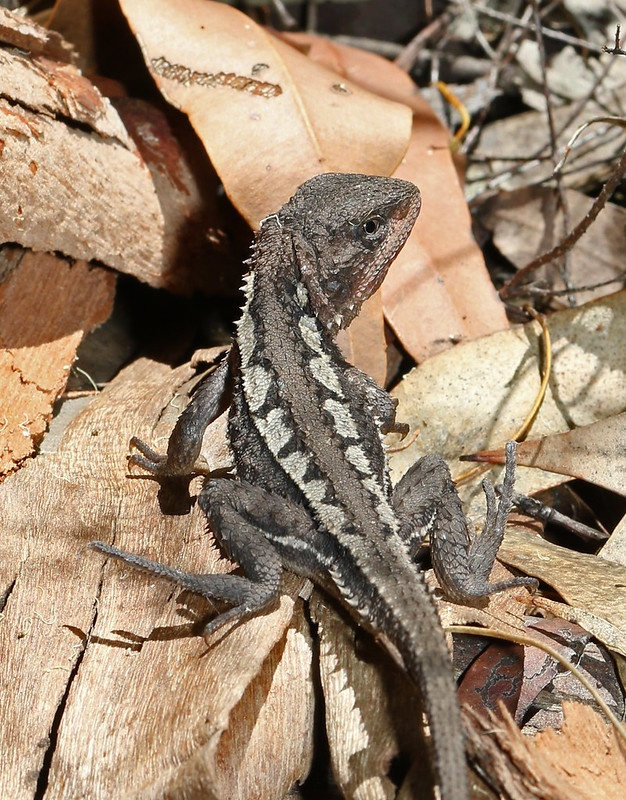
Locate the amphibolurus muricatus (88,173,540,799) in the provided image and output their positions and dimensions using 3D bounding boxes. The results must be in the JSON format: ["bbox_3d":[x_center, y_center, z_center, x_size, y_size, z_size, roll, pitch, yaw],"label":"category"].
[{"bbox_3d":[0.171,0.102,2.410,0.924,0.572,1.684,9,66,1],"label":"amphibolurus muricatus"}]
